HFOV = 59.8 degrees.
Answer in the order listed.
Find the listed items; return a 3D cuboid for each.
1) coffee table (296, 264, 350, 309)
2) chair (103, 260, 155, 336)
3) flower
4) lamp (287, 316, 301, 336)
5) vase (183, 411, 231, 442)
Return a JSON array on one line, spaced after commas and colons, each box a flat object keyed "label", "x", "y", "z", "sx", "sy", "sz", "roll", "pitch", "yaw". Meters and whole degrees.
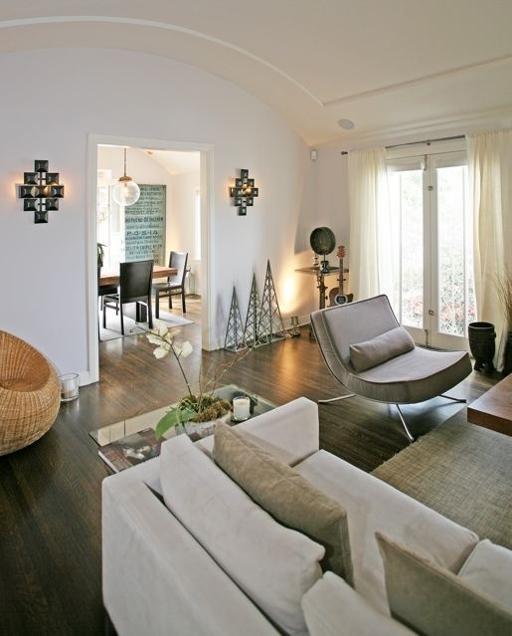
[{"label": "coffee table", "x": 0.868, "y": -0.466, "z": 5.656, "sx": 0.544, "sy": 0.599, "sz": 0.573, "roll": -5, "pitch": 12, "yaw": -18}, {"label": "chair", "x": -1.642, "y": -0.268, "z": 5.839, "sx": 0.648, "sy": 0.936, "sz": 0.878, "roll": -3, "pitch": 5, "yaw": -28}, {"label": "flower", "x": -0.442, "y": 0.457, "z": 3.356, "sx": 0.418, "sy": 0.570, "sz": 0.329, "roll": -24, "pitch": 32, "yaw": -32}, {"label": "lamp", "x": 0.526, "y": 0.113, "z": 5.711, "sx": 0.203, "sy": 0.255, "sz": 0.216, "roll": 0, "pitch": 1, "yaw": 13}, {"label": "vase", "x": -0.239, "y": 0.468, "z": 2.136, "sx": 0.196, "sy": 0.079, "sz": 0.182, "roll": 0, "pitch": 0, "yaw": -31}]
